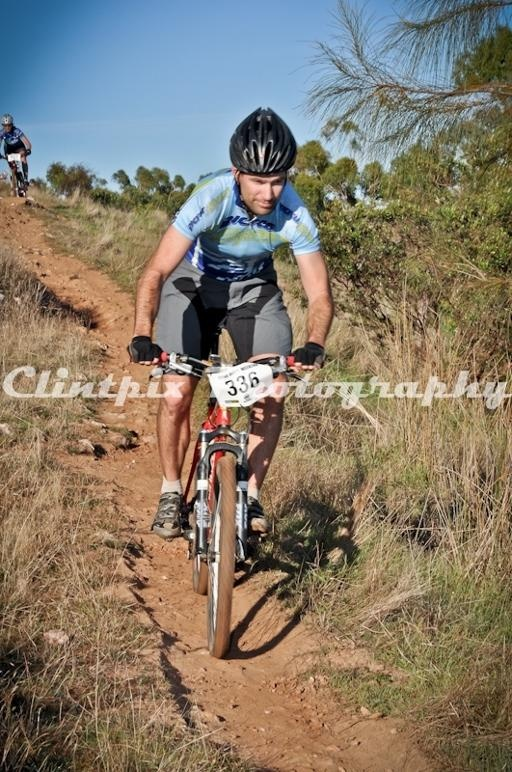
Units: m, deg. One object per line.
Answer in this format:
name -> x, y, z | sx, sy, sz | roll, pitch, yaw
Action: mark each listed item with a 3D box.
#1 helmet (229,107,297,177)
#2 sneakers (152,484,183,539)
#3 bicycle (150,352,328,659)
helmet -> 0.028, -1.135, 2.724 | 0.304, 0.172, 0.474 | -2, 40, -2
sneakers -> -0.458, 0.670, 3.105 | 0.096, 0.135, 0.302 | 3, 5, -6
bicycle -> -0.124, 0.559, 2.834 | 0.591, 1.496, 0.902 | -2, 9, -5
